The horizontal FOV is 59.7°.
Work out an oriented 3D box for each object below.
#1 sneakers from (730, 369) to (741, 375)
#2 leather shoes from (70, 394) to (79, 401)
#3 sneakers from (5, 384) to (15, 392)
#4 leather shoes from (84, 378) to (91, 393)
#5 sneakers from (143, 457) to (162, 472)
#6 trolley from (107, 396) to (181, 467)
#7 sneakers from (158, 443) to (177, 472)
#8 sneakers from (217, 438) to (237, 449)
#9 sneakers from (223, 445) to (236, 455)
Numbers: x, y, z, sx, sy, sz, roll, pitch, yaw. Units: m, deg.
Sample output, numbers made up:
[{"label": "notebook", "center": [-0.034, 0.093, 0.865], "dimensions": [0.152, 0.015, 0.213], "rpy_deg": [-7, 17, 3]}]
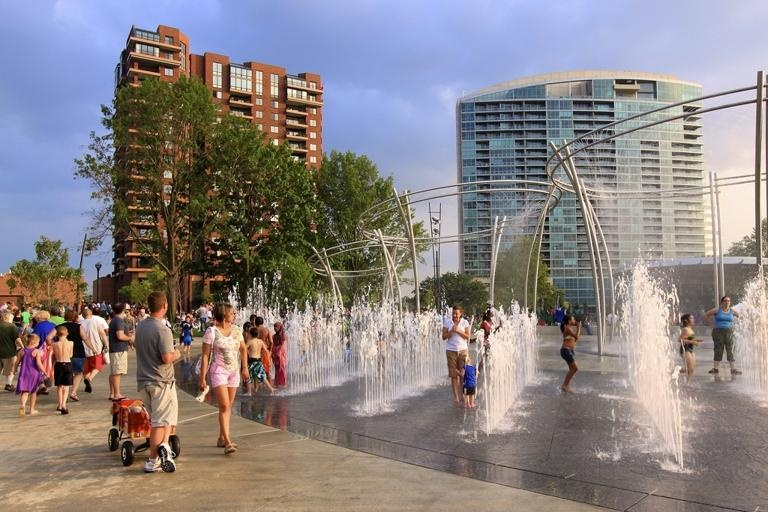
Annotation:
[{"label": "sneakers", "center": [11.074, 3.584, 20.891], "dimensions": [0.400, 0.179, 0.144], "rpy_deg": [-3, 3, -31]}, {"label": "leather shoes", "center": [-8.450, 3.874, 18.342], "dimensions": [0.367, 0.155, 0.138], "rpy_deg": [13, 1, 43]}, {"label": "sneakers", "center": [-11.183, 3.935, 20.010], "dimensions": [0.157, 0.192, 0.430], "rpy_deg": [6, -16, -38]}, {"label": "leather shoes", "center": [-8.703, 3.781, 19.634], "dimensions": [0.184, 0.453, 0.184], "rpy_deg": [0, 12, 0]}, {"label": "sneakers", "center": [-4.470, 4.037, 12.993], "dimensions": [0.174, 0.198, 0.423], "rpy_deg": [1, -5, 9]}, {"label": "trolley", "center": [-5.051, 3.574, 14.020], "dimensions": [1.138, 1.198, 1.592], "rpy_deg": [-3, -1, -30]}, {"label": "sneakers", "center": [-4.198, 3.899, 13.043], "dimensions": [0.249, 0.652, 0.296], "rpy_deg": [-14, -8, 0]}, {"label": "sneakers", "center": [-3.252, 3.888, 13.929], "dimensions": [0.195, 0.250, 0.576], "rpy_deg": [4, -18, -26]}, {"label": "sneakers", "center": [-3.147, 3.974, 13.736], "dimensions": [0.108, 0.165, 0.365], "rpy_deg": [8, -36, -31]}]
